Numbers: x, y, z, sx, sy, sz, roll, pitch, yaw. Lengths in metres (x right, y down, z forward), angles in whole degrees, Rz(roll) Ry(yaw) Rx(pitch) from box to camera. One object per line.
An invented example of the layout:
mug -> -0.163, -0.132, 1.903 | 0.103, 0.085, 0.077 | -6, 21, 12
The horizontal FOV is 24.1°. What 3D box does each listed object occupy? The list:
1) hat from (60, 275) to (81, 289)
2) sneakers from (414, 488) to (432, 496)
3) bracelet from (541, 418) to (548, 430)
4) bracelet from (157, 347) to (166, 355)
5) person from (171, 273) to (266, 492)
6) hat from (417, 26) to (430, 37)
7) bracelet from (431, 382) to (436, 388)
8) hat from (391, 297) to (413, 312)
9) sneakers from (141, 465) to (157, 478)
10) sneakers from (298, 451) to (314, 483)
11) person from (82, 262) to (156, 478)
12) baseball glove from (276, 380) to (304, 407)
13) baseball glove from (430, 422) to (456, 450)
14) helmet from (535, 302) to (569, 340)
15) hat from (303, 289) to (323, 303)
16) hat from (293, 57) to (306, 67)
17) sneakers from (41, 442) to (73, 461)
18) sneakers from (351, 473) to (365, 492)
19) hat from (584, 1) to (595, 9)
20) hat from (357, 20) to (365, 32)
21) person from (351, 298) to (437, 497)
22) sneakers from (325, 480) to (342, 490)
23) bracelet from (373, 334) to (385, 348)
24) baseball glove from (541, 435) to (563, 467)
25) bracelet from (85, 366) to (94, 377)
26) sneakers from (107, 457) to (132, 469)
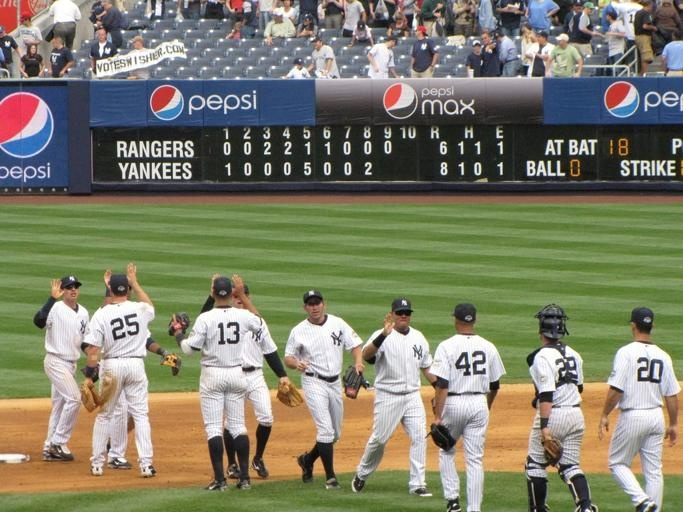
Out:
hat -> -4.194, 0.389, 24.573 | 0.200, 0.156, 0.280 | 0, -2, -24
sneakers -> 1.192, 3.475, 23.421 | 0.297, 0.129, 0.105 | -8, 1, 44
bracelet -> 2.864, 2.360, 22.419 | 0.128, 0.150, 0.129 | 6, 6, -9
bracelet -> -2.737, 1.462, 24.431 | 0.097, 0.115, 0.109 | 7, 19, 5
person -> -1.723, 1.862, 23.500 | 1.023, 3.142, 0.299 | -2, -2, -8
hat -> 1.946, -5.445, 37.833 | 0.277, 0.152, 0.404 | 22, 17, -16
bracelet -> 1.366, 1.869, 22.999 | 0.079, 0.076, 0.089 | -7, 19, -13
hat -> 0.899, 0.727, 23.523 | 0.265, 0.239, 0.346 | -3, -3, 7
sneakers -> -2.901, 3.236, 24.048 | 0.292, 0.165, 0.115 | -1, 7, -3
sneakers -> -0.522, 3.174, 23.978 | 0.219, 0.501, 0.176 | -8, 8, 7
person -> -3.341, 1.755, 24.054 | 1.057, 3.213, 0.414 | -2, -2, -11
baseball glove -> -0.771, 2.012, 23.831 | 0.311, 0.177, 0.402 | -26, -43, 24
baseball glove -> 1.444, 2.571, 22.808 | 0.157, 0.413, 0.296 | -30, 30, 4
helmet -> 3.058, 0.974, 22.849 | 0.438, 0.543, 0.469 | 0, 37, -3
hat -> -0.428, 0.612, 24.557 | 0.227, 0.150, 0.345 | -9, -2, -2
hat -> -0.939, -4.669, 37.942 | 0.307, 0.300, 0.314 | -5, 9, -23
sneakers -> -4.395, 3.034, 24.730 | 0.529, 0.310, 0.202 | 4, 5, -7
sneakers -> 0.249, 3.359, 23.514 | 0.131, 0.279, 0.170 | 5, -29, -3
hat -> 6.347, -6.456, 40.695 | 0.291, 0.102, 0.307 | -6, 18, -3
hat -> 0.507, -5.775, 39.708 | 0.155, 0.230, 0.226 | 1, 33, 0
person -> 0.799, 2.085, 23.420 | 1.076, 2.921, 0.424 | -2, -2, 2
sneakers -> -0.123, 3.372, 23.554 | 0.208, 0.155, 0.191 | -2, -2, -1
bracelet -> 0.564, 1.228, 23.296 | 0.109, 0.223, 0.089 | 20, 14, 3
baseball glove -> 2.965, 2.738, 22.440 | 0.349, 0.485, 0.192 | -8, 4, 24
bracelet -> -3.754, 1.733, 23.942 | 0.128, 0.159, 0.142 | 9, 0, -9
sneakers -> -3.377, 3.165, 24.348 | 0.355, 0.175, 0.153 | 1, 4, 16
